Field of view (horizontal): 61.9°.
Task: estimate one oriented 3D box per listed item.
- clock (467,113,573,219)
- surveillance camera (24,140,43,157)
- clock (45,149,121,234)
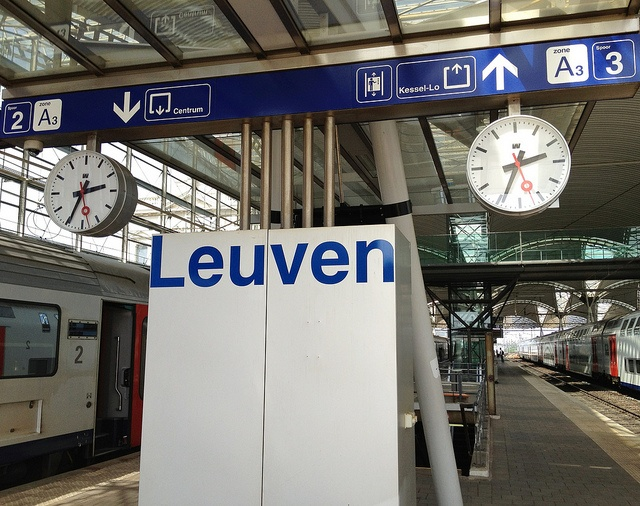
[{"bbox_3d":[1.773,-0.796,4.785,0.820,0.112,0.993,0,-48,23],"label":"clock"},{"bbox_3d":[-3.134,-1.158,5.837,0.160,0.158,0.166,0,-8,-12],"label":"surveillance camera"},{"bbox_3d":[-2.392,-0.632,5.440,0.824,0.861,0.171,-4,-9,8],"label":"clock"}]
